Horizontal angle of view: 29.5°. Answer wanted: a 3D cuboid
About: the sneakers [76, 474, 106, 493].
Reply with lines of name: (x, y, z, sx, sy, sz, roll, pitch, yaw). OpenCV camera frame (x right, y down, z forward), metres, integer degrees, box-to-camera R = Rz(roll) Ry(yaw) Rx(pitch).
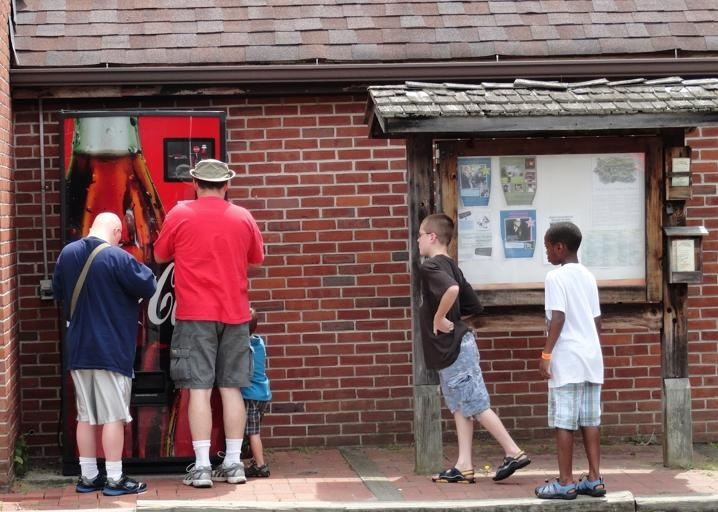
sneakers: (-2.347, 1.989, 11.920, 0.320, 0.121, 0.114, -3, 4, -35)

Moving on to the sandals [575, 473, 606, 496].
sandals: (1.949, 1.959, 11.656, 0.130, 0.135, 0.313, -1, 3, -32)

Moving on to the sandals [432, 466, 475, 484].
sandals: (0.826, 1.935, 12.020, 0.354, 0.113, 0.135, 3, -6, 3)

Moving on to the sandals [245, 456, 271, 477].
sandals: (-0.921, 1.919, 12.246, 0.283, 0.112, 0.100, 2, 1, 10)

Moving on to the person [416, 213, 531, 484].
person: (0.925, 0.807, 12.021, 0.783, 1.959, 0.476, -2, 1, 1)

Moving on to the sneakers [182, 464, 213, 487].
sneakers: (-1.418, 1.934, 11.914, 0.140, 0.133, 0.323, 1, -1, -21)

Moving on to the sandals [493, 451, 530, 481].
sandals: (1.298, 1.847, 11.995, 0.294, 0.217, 0.371, -2, 1, -9)

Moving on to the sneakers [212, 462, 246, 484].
sneakers: (-1.196, 1.905, 12.009, 0.363, 0.140, 0.134, 2, 0, 39)

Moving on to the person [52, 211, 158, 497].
person: (-2.221, 0.852, 11.885, 0.835, 2.278, 0.340, -3, 1, -11)

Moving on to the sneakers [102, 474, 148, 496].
sneakers: (-2.036, 1.998, 11.863, 0.424, 0.156, 0.150, -1, 0, -13)

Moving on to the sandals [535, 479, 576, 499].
sandals: (1.660, 1.987, 11.604, 0.329, 0.134, 0.145, 2, -2, 8)

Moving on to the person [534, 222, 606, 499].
person: (1.761, 0.882, 11.682, 0.606, 1.867, 0.417, -2, 1, 7)
